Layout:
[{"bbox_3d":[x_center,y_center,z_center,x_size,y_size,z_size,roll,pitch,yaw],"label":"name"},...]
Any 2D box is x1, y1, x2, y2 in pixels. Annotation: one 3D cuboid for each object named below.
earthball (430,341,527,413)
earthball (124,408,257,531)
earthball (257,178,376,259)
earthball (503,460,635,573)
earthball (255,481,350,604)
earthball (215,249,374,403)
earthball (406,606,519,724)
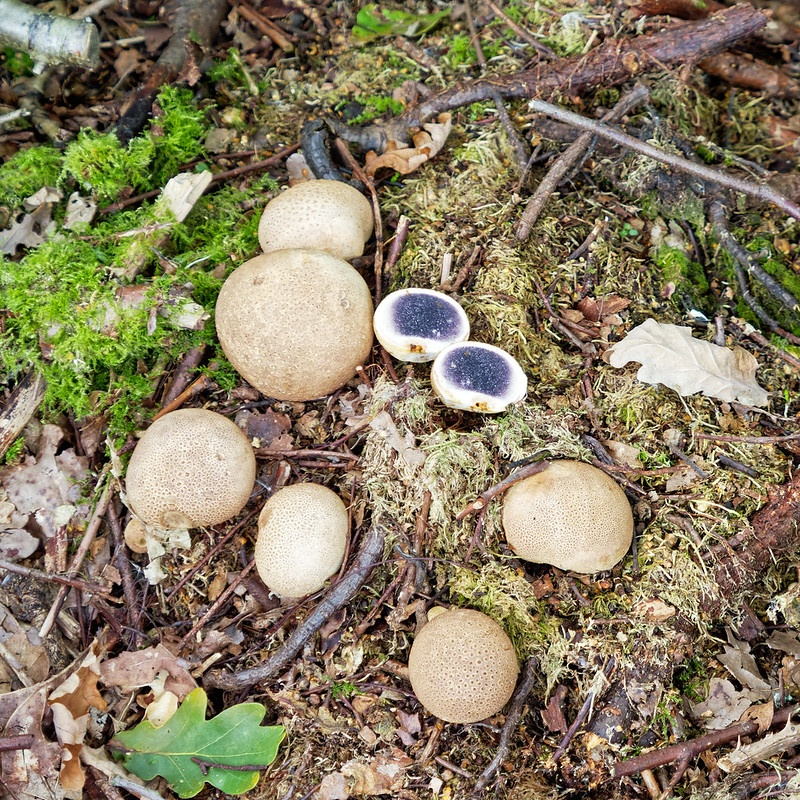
[{"bbox_3d":[0.355,-0.094,3.805,0.421,0.194,0.296,13,67,8],"label":"earthball"},{"bbox_3d":[-0.902,0.293,3.669,0.496,0.289,0.522,13,67,8],"label":"earthball"},{"bbox_3d":[-0.364,-0.854,3.959,0.481,0.247,0.373,-17,35,-26],"label":"earthball"},{"bbox_3d":[0.715,0.469,3.600,0.552,0.239,0.452,13,67,8],"label":"earthball"},{"bbox_3d":[-0.411,0.611,3.734,0.400,0.280,0.457,21,85,11],"label":"earthball"},{"bbox_3d":[-0.462,-0.337,3.767,0.662,0.418,0.566,-4,66,1],"label":"earthball"},{"bbox_3d":[0.250,1.048,3.411,0.436,0.203,0.432,-34,68,-12],"label":"earthball"}]
